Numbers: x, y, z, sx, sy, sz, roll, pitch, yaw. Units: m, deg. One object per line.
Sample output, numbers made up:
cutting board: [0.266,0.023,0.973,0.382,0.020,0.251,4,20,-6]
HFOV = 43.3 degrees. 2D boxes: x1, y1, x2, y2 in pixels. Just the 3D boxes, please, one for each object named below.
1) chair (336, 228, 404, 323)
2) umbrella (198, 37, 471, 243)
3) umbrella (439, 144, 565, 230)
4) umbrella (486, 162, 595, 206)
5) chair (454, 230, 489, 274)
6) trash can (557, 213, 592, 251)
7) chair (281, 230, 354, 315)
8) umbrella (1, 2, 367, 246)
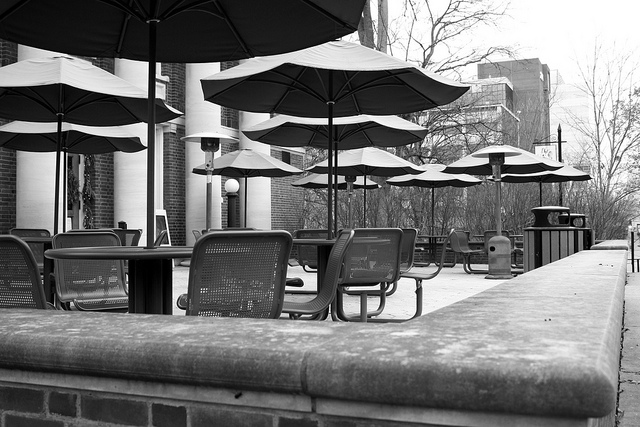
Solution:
chair: [0.602,0.692,10.200,1.020,1.242,0.751,9,1,12]
umbrella: [0.328,-1.422,10.832,3.115,2.160,3.224,7,-9,-39]
umbrella: [5.146,-0.621,22.843,4.002,2.900,3.755,0,-2,0]
umbrella: [5.909,-1.028,20.906,1.606,0.993,1.627,-6,-10,44]
chair: [3.872,0.936,20.132,0.880,1.099,0.879,-4,0,11]
trash can: [5.254,0.439,17.173,0.694,0.794,0.807,-6,7,-6]
chair: [-0.111,0.607,8.360,0.719,0.995,0.559,7,0,-11]
umbrella: [-1.420,-0.644,8.879,3.252,2.027,3.131,-6,-8,43]
